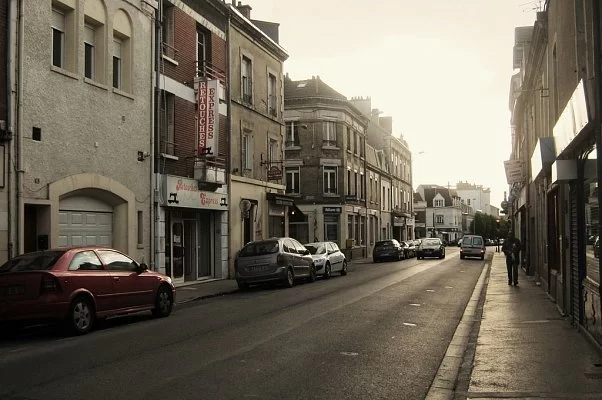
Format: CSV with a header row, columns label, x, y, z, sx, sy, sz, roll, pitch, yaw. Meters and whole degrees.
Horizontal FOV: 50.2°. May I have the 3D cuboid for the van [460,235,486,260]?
label,x,y,z,sx,sy,sz,roll,pitch,yaw
van,12.803,3.402,47.522,1.170,1.234,2.219,0,0,21
